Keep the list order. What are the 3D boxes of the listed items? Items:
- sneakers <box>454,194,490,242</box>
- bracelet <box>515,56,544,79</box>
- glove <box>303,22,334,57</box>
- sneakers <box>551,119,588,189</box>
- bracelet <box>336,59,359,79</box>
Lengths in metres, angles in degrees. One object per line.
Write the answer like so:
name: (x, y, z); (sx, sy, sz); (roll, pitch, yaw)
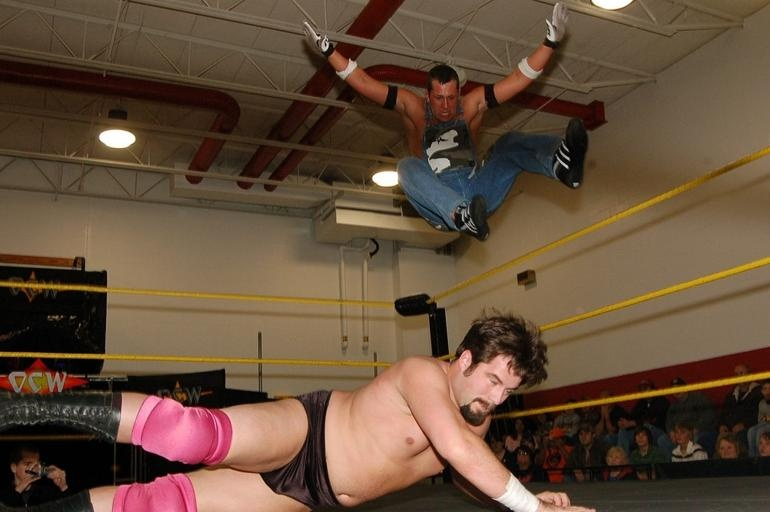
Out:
sneakers: (0.677, -0.275, 4.913); (0.179, 0.166, 0.421); (7, -20, 17)
bracelet: (1.282, -1.663, 5.626); (0.166, 0.111, 0.211); (30, 8, 6)
glove: (-0.619, -2.042, 6.030); (0.193, 0.357, 0.546); (5, 20, -19)
sneakers: (1.393, -0.741, 4.722); (0.197, 0.551, 0.225); (4, -8, -32)
bracelet: (-0.323, -1.726, 5.900); (0.160, 0.113, 0.213); (-34, 10, 31)
